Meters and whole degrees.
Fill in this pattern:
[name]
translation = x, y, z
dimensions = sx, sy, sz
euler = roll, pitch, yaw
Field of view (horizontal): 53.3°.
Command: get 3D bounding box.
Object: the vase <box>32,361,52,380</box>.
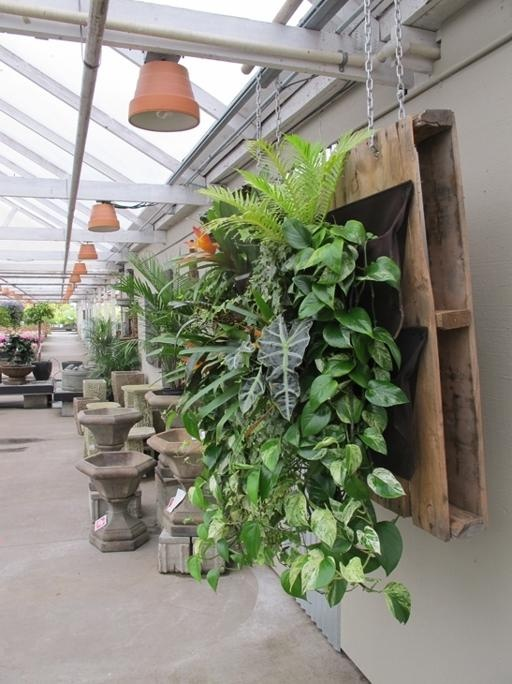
[vase]
translation = -4.329, 0.584, 10.442
dimensions = 0.386, 0.394, 0.394
euler = 7, 7, 43
